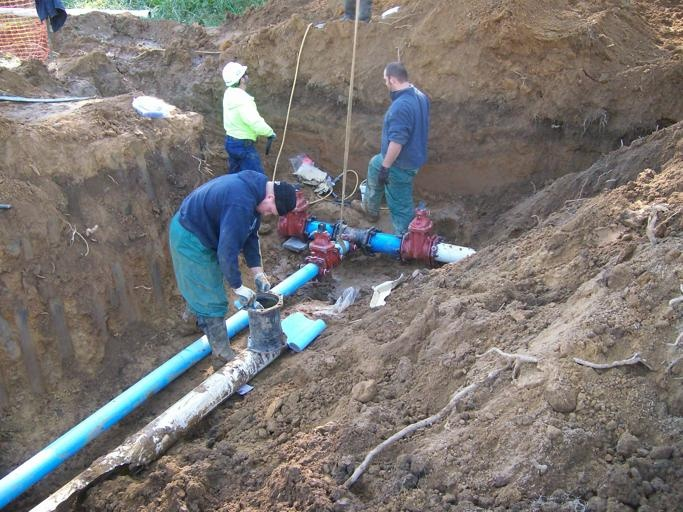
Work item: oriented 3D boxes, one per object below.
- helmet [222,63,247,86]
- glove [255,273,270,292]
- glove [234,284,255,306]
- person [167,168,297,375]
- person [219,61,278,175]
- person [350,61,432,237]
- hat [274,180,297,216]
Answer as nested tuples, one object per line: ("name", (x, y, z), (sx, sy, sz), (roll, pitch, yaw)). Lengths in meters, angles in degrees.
("helmet", (-1.321, -2.247, 10.634), (0.268, 0.286, 0.279), (-6, 20, -4))
("glove", (-0.843, 0.273, 9.200), (0.147, 0.224, 0.090), (-7, 29, 12))
("glove", (-0.994, 0.403, 8.856), (0.217, 0.217, 0.161), (29, 71, 18))
("person", (-1.126, 0.146, 8.930), (1.182, 2.044, 0.665), (-10, 20, -13))
("person", (-1.193, -1.712, 10.807), (0.677, 1.425, 0.375), (-2, 20, 7))
("person", (0.586, -1.284, 10.728), (0.705, 2.250, 1.047), (-19, 24, -34))
("hat", (-0.545, -0.602, 8.673), (0.251, 0.319, 0.231), (-15, 8, 14))
